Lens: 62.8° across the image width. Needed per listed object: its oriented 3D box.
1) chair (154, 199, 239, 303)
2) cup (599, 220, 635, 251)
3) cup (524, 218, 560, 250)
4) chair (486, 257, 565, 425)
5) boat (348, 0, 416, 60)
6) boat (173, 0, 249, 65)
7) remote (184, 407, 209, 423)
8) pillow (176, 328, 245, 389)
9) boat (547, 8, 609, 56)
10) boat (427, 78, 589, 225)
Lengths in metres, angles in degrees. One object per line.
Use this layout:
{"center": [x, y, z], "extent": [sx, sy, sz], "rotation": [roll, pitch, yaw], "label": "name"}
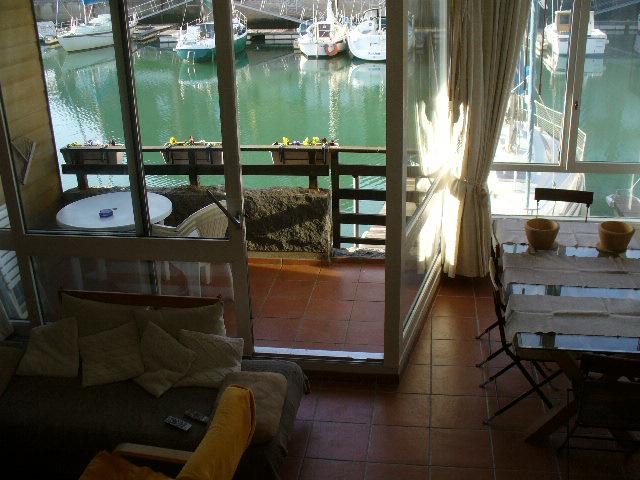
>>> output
{"center": [-0.723, -0.064, 3.786], "extent": [0.570, 0.788, 0.591], "rotation": [8, 31, 6], "label": "chair"}
{"center": [1.939, -0.032, 3.474], "extent": [0.203, 0.154, 0.214], "rotation": [-7, 27, 4], "label": "cup"}
{"center": [1.473, -0.050, 3.534], "extent": [0.208, 0.166, 0.217], "rotation": [-3, 25, 1], "label": "cup"}
{"center": [1.270, 0.634, 3.203], "extent": [0.416, 0.711, 0.750], "rotation": [-4, 29, 8], "label": "chair"}
{"center": [2.276, -9.195, 23.878], "extent": [1.322, 2.190, 3.490], "rotation": [-7, 22, -13], "label": "boat"}
{"center": [-0.610, -1.242, 3.155], "extent": [0.248, 0.195, 0.536], "rotation": [14, 43, 15], "label": "boat"}
{"center": [-0.668, 0.949, 2.851], "extent": [0.108, 0.023, 0.062], "rotation": [14, 28, 19], "label": "remote"}
{"center": [-0.652, 0.715, 3.158], "extent": [0.309, 0.095, 0.309], "rotation": [4, 59, -4], "label": "pillow"}
{"center": [2.240, -1.759, 4.557], "extent": [0.312, 0.254, 0.513], "rotation": [2, 38, 9], "label": "boat"}
{"center": [2.069, -0.747, 5.122], "extent": [0.684, 1.491, 0.580], "rotation": [2, 26, 10], "label": "boat"}
